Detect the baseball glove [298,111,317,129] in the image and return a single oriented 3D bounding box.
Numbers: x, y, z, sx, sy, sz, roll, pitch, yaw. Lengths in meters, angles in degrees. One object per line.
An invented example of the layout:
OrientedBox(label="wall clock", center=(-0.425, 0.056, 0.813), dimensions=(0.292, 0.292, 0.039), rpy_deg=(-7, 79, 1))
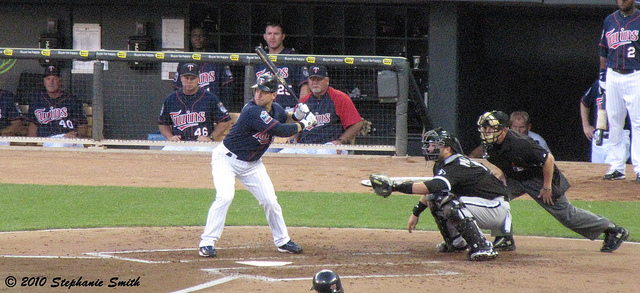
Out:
OrientedBox(label="baseball glove", center=(-0.336, -0.733, 25.497), dimensions=(0.472, 0.167, 0.475), rpy_deg=(-39, 45, -21))

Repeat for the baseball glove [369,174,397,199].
OrientedBox(label="baseball glove", center=(1.772, 1.100, 25.084), dimensions=(0.751, 0.585, 0.197), rpy_deg=(2, 5, 1))

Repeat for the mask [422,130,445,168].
OrientedBox(label="mask", center=(3.162, 0.045, 25.161), dimensions=(0.617, 1.011, 0.278), rpy_deg=(2, 5, 6))

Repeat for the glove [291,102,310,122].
OrientedBox(label="glove", center=(-0.544, -1.016, 25.846), dimensions=(0.446, 0.523, 0.167), rpy_deg=(25, 42, -23))

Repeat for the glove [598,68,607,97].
OrientedBox(label="glove", center=(8.790, -2.017, 28.147), dimensions=(0.156, 0.858, 0.539), rpy_deg=(3, 5, 9))
